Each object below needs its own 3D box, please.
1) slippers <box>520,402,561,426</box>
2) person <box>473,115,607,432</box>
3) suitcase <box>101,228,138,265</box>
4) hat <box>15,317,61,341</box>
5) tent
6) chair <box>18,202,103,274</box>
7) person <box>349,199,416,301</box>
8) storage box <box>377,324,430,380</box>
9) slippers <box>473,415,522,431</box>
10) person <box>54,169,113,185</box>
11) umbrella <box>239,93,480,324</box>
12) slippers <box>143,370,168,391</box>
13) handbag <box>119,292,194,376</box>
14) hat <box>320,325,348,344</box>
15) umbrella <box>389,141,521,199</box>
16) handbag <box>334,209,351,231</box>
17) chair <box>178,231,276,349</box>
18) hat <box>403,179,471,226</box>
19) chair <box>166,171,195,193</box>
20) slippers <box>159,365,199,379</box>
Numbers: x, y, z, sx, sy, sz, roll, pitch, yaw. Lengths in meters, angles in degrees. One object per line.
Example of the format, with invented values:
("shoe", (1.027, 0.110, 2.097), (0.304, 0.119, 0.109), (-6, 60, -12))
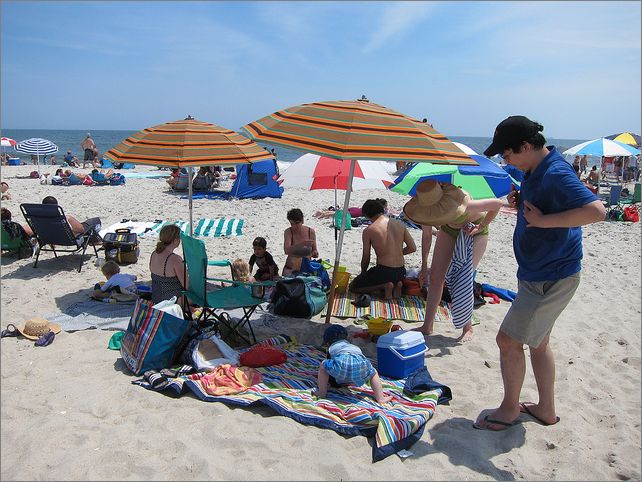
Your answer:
("slippers", (1.922, 1.512, 4.266), (0.146, 0.070, 0.275), (12, 20, -47))
("person", (1.717, 0.337, 3.910), (0.815, 2.598, 0.567), (6, 12, 21))
("suitcase", (-3.269, 0.118, 7.879), (0.551, 0.340, 0.499), (7, 37, 3))
("hat", (-3.130, 0.983, 5.380), (0.301, 0.082, 0.267), (7, 12, 10))
("tent", (-2.491, -1.839, 15.347), (2.365, 0.743, 2.210), (1, 14, -10))
("chair", (-4.047, -0.137, 7.469), (0.987, 0.905, 1.395), (4, 14, 0))
("person", (0.863, 0.106, 6.808), (0.920, 1.317, 0.847), (-6, 9, -21))
("storage box", (0.777, 1.051, 4.899), (0.634, 0.402, 0.439), (0, 0, -44))
("slippers", (1.489, 1.548, 4.139), (0.344, 0.051, 0.137), (0, 11, 4))
("person", (-8.397, -2.176, 17.067), (1.456, 0.426, 1.000), (-1, 9, -9))
("umbrella", (0.285, -0.704, 5.794), (2.019, 1.862, 1.916), (3, 13, -9))
("slippers", (-1.548, 1.298, 4.544), (0.261, 0.079, 0.109), (18, 19, 38))
("handbag", (-1.624, 0.957, 4.862), (0.635, 0.425, 0.357), (15, -16, 41))
("hat", (0.138, 0.911, 4.618), (0.200, 0.212, 0.273), (1, 11, -4))
("umbrella", (2.314, -1.041, 7.822), (1.736, 0.758, 1.552), (1, 3, 1))
("handbag", (0.464, -0.459, 10.959), (0.520, 0.549, 0.464), (-2, 5, -15))
("chair", (-1.101, 0.372, 6.001), (1.236, 1.555, 1.360), (-3, 11, -25))
("hat", (1.060, -0.336, 4.492), (0.431, 0.187, 0.530), (-12, 30, 27))
("chair", (-4.779, -1.919, 16.567), (1.050, 0.790, 1.186), (-2, 25, -24))
("slippers", (-1.374, 1.264, 4.666), (0.283, 0.075, 0.122), (0, 3, -7))
